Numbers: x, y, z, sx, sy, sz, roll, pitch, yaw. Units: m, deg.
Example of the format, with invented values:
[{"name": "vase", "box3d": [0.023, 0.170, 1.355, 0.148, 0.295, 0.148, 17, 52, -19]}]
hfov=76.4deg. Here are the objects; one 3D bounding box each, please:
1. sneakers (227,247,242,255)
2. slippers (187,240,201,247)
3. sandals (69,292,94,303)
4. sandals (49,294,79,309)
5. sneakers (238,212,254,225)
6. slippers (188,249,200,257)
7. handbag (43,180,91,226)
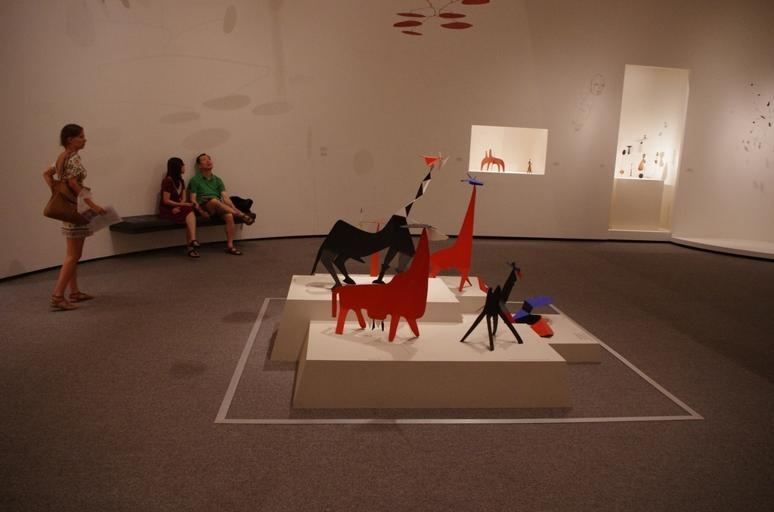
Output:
[{"name": "sneakers", "box3d": [-2.391, -0.078, 7.718, 0.236, 0.105, 0.110, 0, 9, -2]}, {"name": "slippers", "box3d": [-3.006, -0.199, 7.622, 0.212, 0.076, 0.116, 2, 5, 36]}, {"name": "sandals", "box3d": [-3.487, 0.465, 5.606, 0.226, 0.094, 0.116, -8, 13, -44]}, {"name": "sandals", "box3d": [-3.529, 0.485, 5.417, 0.373, 0.173, 0.143, 0, 5, -28]}, {"name": "sneakers", "box3d": [-2.270, -0.593, 7.970, 0.117, 0.122, 0.332, 4, 24, -10]}, {"name": "slippers", "box3d": [-2.947, -0.060, 7.494, 0.163, 0.128, 0.271, -4, 16, -22]}, {"name": "handbag", "box3d": [-3.334, -0.548, 5.096, 0.415, 0.462, 0.139, 2, 14, 2]}]
